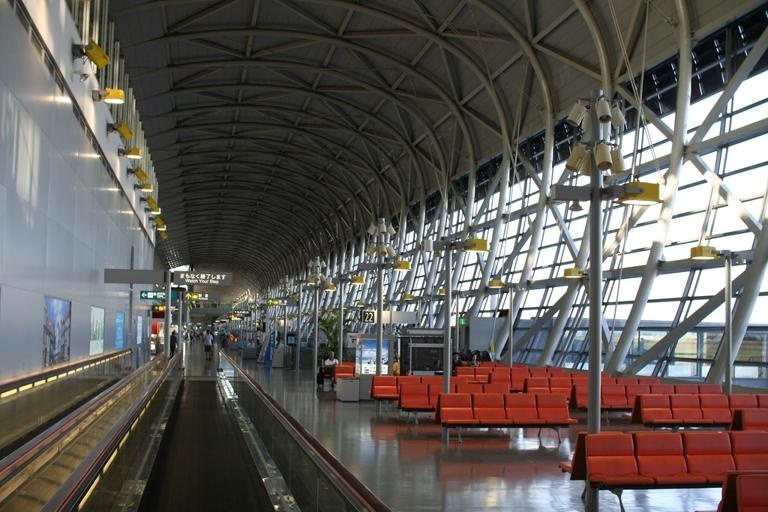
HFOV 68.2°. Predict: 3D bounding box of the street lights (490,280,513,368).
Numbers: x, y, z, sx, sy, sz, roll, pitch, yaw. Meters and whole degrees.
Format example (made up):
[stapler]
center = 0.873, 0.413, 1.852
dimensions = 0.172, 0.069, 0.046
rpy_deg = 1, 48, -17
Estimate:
[street lights]
center = 6.552, 3.700, 31.494
dimensions = 0.942, 0.997, 4.348
rpy_deg = 21, -23, 17
